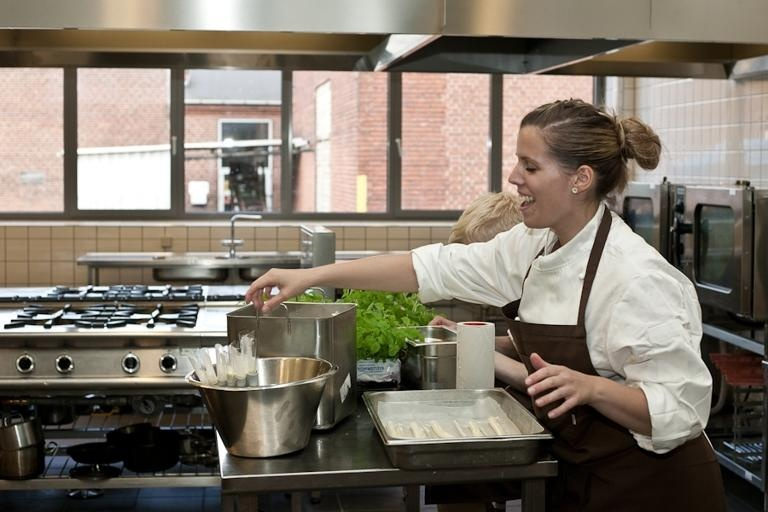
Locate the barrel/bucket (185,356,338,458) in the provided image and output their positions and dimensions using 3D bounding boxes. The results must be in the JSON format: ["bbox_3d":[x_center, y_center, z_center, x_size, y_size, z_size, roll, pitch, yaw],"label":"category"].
[{"bbox_3d":[-0.358,0.459,2.082,0.435,0.265,0.221,-4,5,-6],"label":"barrel/bucket"}]

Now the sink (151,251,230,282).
[{"bbox_3d":[-1.649,0.123,5.724,0.685,0.236,0.365,0,6,35],"label":"sink"}]

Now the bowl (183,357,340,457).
[{"bbox_3d":[-0.360,0.477,2.176,0.509,0.236,0.489,-7,-4,0],"label":"bowl"}]
